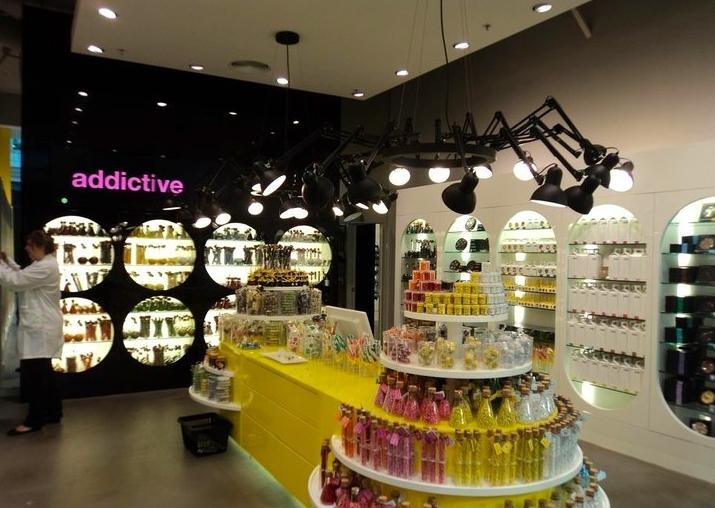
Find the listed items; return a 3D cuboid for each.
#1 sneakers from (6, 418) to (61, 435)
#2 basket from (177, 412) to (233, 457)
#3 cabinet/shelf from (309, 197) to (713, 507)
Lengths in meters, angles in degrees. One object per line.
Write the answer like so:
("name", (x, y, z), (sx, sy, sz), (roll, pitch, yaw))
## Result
("sneakers", (-4.117, 2.168, 6.239), (0.486, 0.168, 0.070), (-4, 8, -20))
("basket", (-1.866, 2.145, 5.870), (0.500, 0.305, 0.470), (9, 5, 43))
("cabinet/shelf", (1.877, 0.988, 5.159), (1.609, 3.164, 3.087), (5, -3, -41))
